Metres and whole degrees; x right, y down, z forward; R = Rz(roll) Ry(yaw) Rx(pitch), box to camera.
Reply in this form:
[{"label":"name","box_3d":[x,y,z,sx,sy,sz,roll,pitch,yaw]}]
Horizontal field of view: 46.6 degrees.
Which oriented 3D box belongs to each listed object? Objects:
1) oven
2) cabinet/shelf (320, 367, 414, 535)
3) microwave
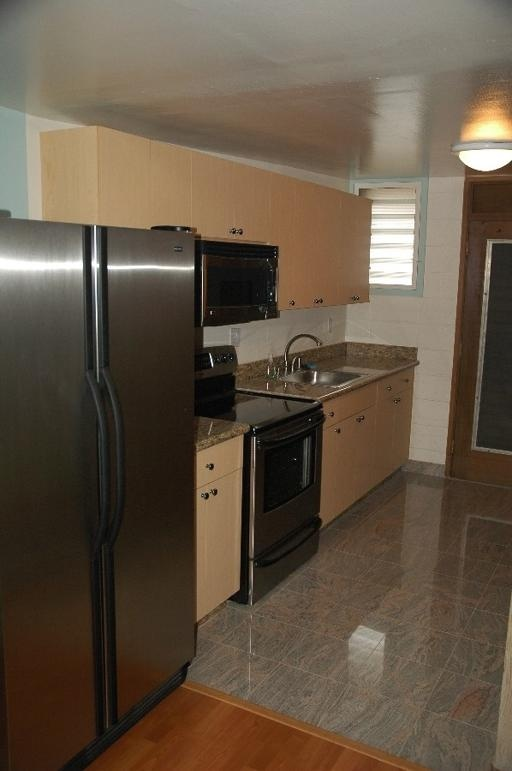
[{"label":"oven","box_3d":[-0.029,0.576,3.151,0.558,0.884,1.014,5,8,32]},{"label":"cabinet/shelf","box_3d":[0.743,0.459,4.093,0.315,0.599,0.937,4,14,28]},{"label":"microwave","box_3d":[0.015,-0.523,3.017,0.560,0.388,0.321,7,12,39]}]
